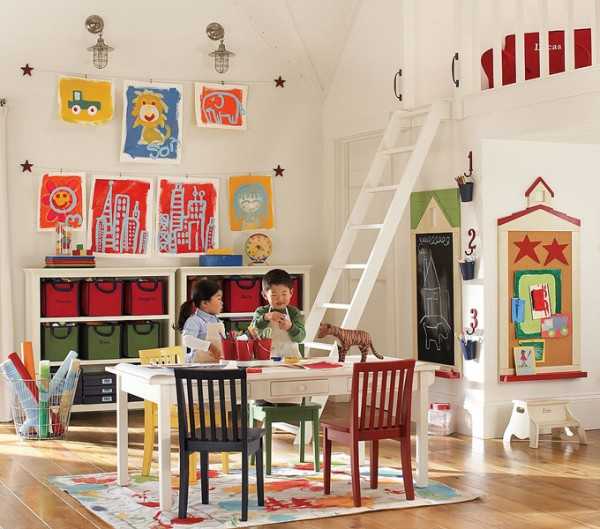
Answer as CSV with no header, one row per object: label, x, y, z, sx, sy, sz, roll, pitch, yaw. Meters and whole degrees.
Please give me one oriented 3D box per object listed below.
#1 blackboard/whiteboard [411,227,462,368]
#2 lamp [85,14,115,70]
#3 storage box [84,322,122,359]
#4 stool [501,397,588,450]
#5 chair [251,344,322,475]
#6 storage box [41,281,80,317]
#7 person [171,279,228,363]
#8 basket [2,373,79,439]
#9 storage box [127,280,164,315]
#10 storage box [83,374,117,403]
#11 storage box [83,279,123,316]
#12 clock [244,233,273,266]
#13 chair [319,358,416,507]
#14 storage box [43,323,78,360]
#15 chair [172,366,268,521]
blackboard/whiteboard,1.032,0.248,4.809,0.082,0.992,0.493,1,-2,-24
lamp,-1.624,-1.859,5.162,0.221,0.454,0.333,1,-2,-19
storage box,-1.589,0.578,5.195,0.300,0.336,0.257,1,0,-25
stool,1.636,1.036,4.304,0.386,0.253,0.375,0,-4,-23
chair,-0.082,0.934,3.744,0.385,0.440,0.414,2,-4,-24
storage box,-1.863,0.219,5.010,0.295,0.330,0.252,0,5,-24
person,-0.571,0.306,3.628,0.252,0.454,1.033,0,-2,-11
basket,-1.817,0.930,4.546,0.416,0.408,0.444,0,1,-27
storage box,-1.288,0.262,5.303,0.266,0.283,0.277,1,-2,-31
storage box,-1.598,0.972,5.101,0.280,0.222,0.268,0,-1,-1
storage box,-1.567,0.264,5.169,0.321,0.353,0.257,1,-2,-30
clock,-0.387,-0.141,5.717,0.259,0.347,0.097,1,-6,-16
chair,0.375,0.824,3.460,0.471,0.708,1.100,0,-2,9
storage box,-1.848,0.566,4.998,0.305,0.330,0.253,0,7,-23
chair,-0.373,0.794,3.046,0.427,0.690,0.733,0,-2,-9
